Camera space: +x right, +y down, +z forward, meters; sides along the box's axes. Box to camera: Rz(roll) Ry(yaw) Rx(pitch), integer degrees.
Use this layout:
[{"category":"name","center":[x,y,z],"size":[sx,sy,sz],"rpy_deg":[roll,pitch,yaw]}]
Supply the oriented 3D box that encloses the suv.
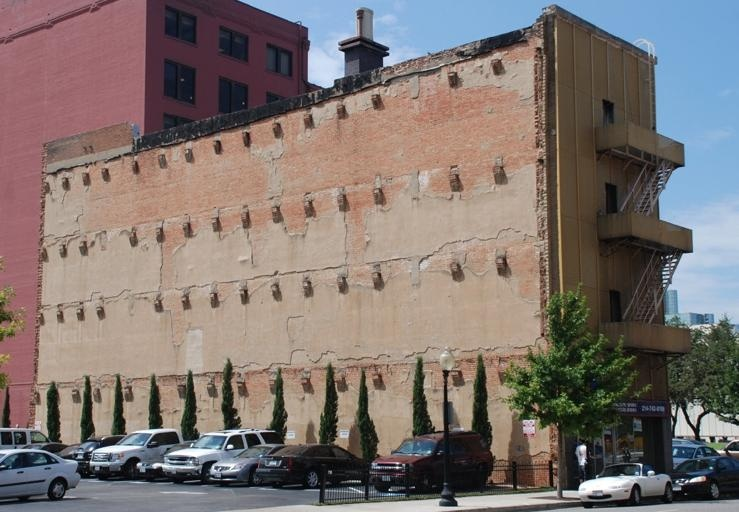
[{"category":"suv","center":[3.553,11.617,78.512],"size":[3.333,3.324,7.545],"rpy_deg":[-6,-8,42]}]

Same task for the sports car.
[{"category":"sports car","center":[12.397,12.107,75.109],"size":[3.646,2.401,5.173],"rpy_deg":[-10,-14,37]}]
